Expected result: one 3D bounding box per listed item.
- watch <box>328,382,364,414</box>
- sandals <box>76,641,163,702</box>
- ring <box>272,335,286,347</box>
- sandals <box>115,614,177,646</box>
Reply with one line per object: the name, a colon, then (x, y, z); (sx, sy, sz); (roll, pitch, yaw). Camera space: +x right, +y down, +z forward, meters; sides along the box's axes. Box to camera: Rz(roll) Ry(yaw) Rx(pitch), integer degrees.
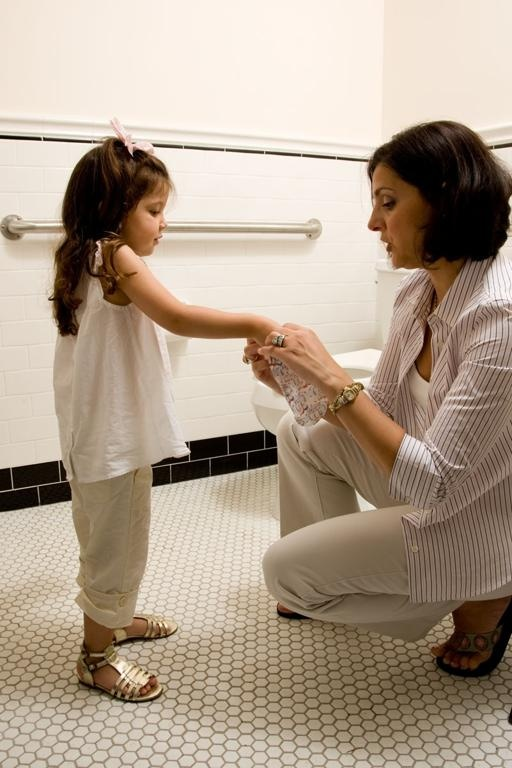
watch: (0.132, 0.020, 0.850); (0.031, 0.019, 0.034); (-35, -5, 40)
sandals: (-0.261, 0.566, 1.126); (0.175, 0.075, 0.082); (7, 15, 18)
ring: (0.036, -0.071, 0.952); (0.021, 0.018, 0.020); (-1, 5, 0)
sandals: (-0.253, 0.544, 1.317); (0.117, 0.028, 0.053); (-10, 25, -20)
